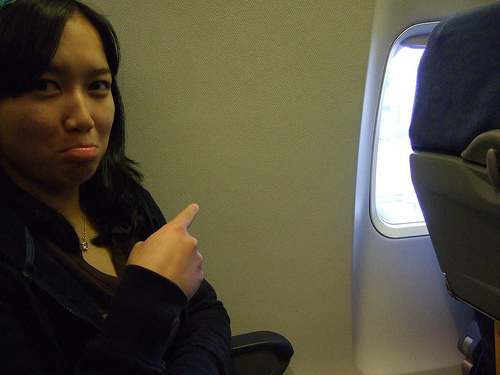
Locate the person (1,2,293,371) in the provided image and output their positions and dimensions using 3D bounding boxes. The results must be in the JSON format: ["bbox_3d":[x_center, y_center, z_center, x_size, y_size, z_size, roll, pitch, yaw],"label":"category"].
[{"bbox_3d":[-0.250,-0.011,1.878,1.028,0.994,1.640,-2,99,-10],"label":"person"}]
